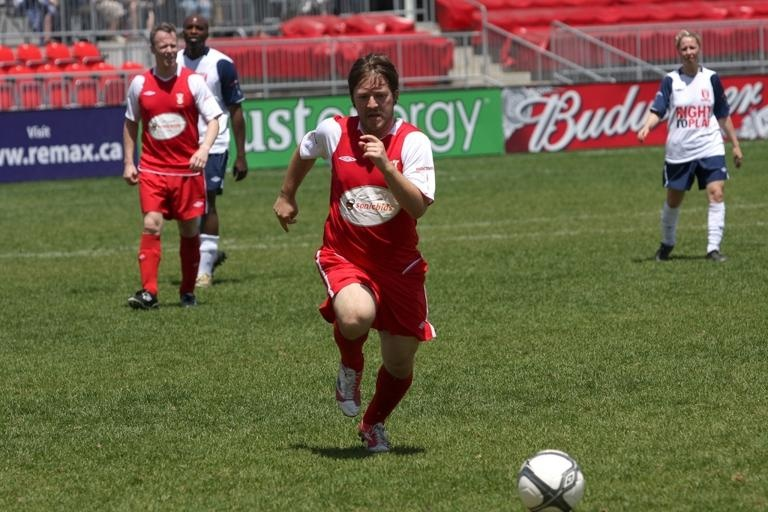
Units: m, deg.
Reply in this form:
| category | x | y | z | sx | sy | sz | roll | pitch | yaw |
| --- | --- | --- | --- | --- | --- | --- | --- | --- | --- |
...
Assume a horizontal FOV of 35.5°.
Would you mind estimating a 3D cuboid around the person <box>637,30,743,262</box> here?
| category | x | y | z | sx | sy | sz | roll | pitch | yaw |
| --- | --- | --- | --- | --- | --- | --- | --- | --- | --- |
| person | 3.275 | -1.149 | 12.667 | 0.897 | 2.383 | 0.470 | 1 | 10 | 8 |

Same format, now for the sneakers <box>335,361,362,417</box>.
| category | x | y | z | sx | sy | sz | roll | pitch | yaw |
| --- | --- | --- | --- | --- | --- | --- | --- | --- | --- |
| sneakers | -0.278 | 1.055 | 9.426 | 0.143 | 0.470 | 0.179 | -3 | 1 | -6 |

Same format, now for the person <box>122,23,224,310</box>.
| category | x | y | z | sx | sy | sz | roll | pitch | yaw |
| --- | --- | --- | --- | --- | --- | --- | --- | --- | --- |
| person | -2.045 | -0.850 | 11.558 | 0.939 | 2.696 | 0.600 | -2 | 10 | -10 |

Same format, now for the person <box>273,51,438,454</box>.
| category | x | y | z | sx | sy | sz | roll | pitch | yaw |
| --- | --- | --- | --- | --- | --- | --- | --- | --- | --- |
| person | -0.148 | -0.029 | 9.323 | 1.088 | 3.013 | 0.574 | 0 | 10 | 6 |

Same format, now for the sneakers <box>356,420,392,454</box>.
| category | x | y | z | sx | sy | sz | roll | pitch | yaw |
| --- | --- | --- | --- | --- | --- | --- | --- | --- | --- |
| sneakers | -0.070 | 1.406 | 9.337 | 0.128 | 0.177 | 0.344 | 0 | 14 | -35 |

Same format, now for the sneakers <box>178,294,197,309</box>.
| category | x | y | z | sx | sy | sz | roll | pitch | yaw |
| --- | --- | --- | --- | --- | --- | --- | --- | --- | --- |
| sneakers | -1.931 | 0.435 | 11.767 | 0.137 | 0.106 | 0.112 | -2 | -4 | 7 |

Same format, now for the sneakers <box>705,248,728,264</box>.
| category | x | y | z | sx | sy | sz | roll | pitch | yaw |
| --- | --- | --- | --- | --- | --- | --- | --- | --- | --- |
| sneakers | 3.523 | 0.005 | 12.679 | 0.184 | 0.090 | 0.105 | 7 | 15 | 42 |

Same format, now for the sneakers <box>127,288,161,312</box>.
| category | x | y | z | sx | sy | sz | roll | pitch | yaw |
| --- | --- | --- | --- | --- | --- | --- | --- | --- | --- |
| sneakers | -2.331 | 0.424 | 11.616 | 0.337 | 0.171 | 0.132 | 4 | -6 | -19 |

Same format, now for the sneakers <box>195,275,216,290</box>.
| category | x | y | z | sx | sy | sz | roll | pitch | yaw |
| --- | --- | --- | --- | --- | --- | --- | --- | --- | --- |
| sneakers | -1.888 | 0.283 | 12.582 | 0.129 | 0.103 | 0.133 | -1 | -5 | 1 |
